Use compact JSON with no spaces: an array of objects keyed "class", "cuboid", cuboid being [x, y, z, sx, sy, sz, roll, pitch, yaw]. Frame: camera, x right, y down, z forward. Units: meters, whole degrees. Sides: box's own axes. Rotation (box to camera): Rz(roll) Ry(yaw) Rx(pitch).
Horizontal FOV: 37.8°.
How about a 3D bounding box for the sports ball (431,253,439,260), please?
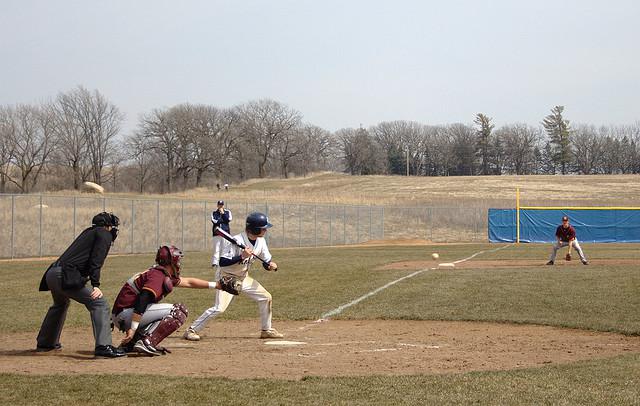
[{"class":"sports ball","cuboid":[6.728,3.240,55.379,0.413,0.331,0.395,-1,1,0]}]
